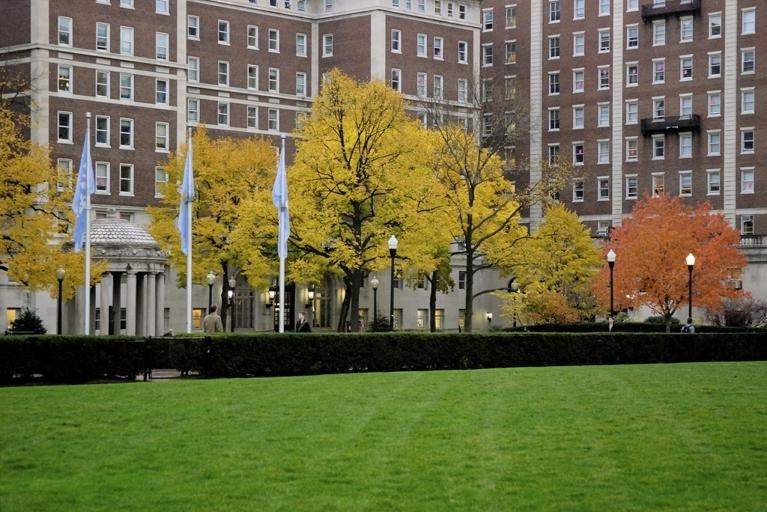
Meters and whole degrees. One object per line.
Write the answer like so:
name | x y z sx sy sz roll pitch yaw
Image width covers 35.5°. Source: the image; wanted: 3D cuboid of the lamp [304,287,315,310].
lamp | -6.095 3.473 98.706 0.696 1.860 0.610 5 13 12
